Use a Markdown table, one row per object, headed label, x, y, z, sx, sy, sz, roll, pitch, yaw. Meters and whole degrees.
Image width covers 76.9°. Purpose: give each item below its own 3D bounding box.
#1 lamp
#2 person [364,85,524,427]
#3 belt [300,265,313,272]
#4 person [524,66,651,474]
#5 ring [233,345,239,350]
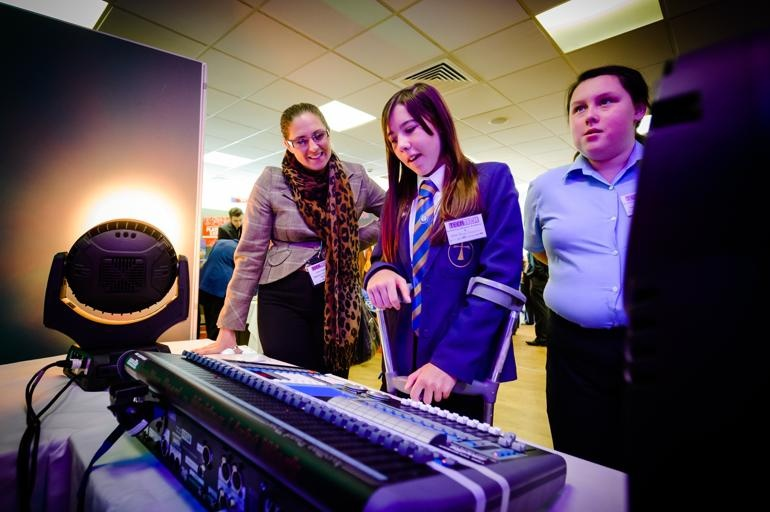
| label | x | y | z | sx | sy | sz | roll | pitch | yaw |
| --- | --- | --- | --- | --- | --- | --- | --- | --- | --- |
| lamp | -0.726 | 0.135 | 1.291 | 0.370 | 0.427 | 0.220 | 9 | 12 | -38 |
| person | 0.149 | -0.024 | 1.273 | 0.396 | 0.910 | 0.410 | 1 | -2 | -4 |
| belt | -0.271 | 0.044 | 1.667 | 0.024 | 0.023 | 0.007 | 4 | -12 | 12 |
| person | 0.604 | 0.008 | 1.364 | 0.256 | 1.078 | 0.553 | 1 | -2 | -4 |
| ring | -0.465 | 0.290 | 1.517 | 0.019 | 0.005 | 0.019 | 16 | 2 | -1 |
